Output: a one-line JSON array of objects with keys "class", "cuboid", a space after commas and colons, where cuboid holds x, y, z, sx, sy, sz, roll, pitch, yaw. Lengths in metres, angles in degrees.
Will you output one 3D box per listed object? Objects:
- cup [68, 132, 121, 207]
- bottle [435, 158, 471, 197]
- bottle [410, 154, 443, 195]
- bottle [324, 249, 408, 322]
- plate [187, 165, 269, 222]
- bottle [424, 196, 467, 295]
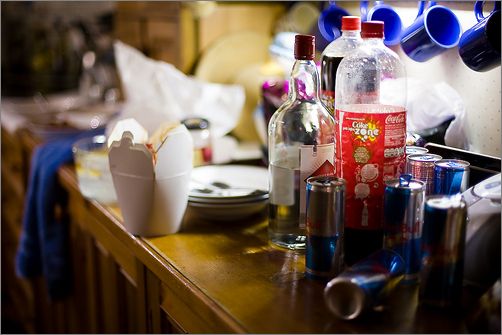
[{"class": "cup", "cuboid": [-0.435, 0.010, 1.285, 0.154, 0.134, 0.173, -2, 3, -1]}, {"class": "bottle", "cuboid": [0.412, 0.021, 0.909, 0.060, 0.069, 0.052, -7, 12, -42]}, {"class": "bottle", "cuboid": [0.354, 0.013, 0.949, 0.076, 0.085, 0.076, -3, 4, -30]}, {"class": "bottle", "cuboid": [0.217, 0.222, 0.822, 0.098, 0.102, 0.259, 2, 11, 35]}, {"class": "plate", "cuboid": [-0.058, 0.067, 1.233, 0.226, 0.101, 0.296, 0, 9, -4]}, {"class": "bottle", "cuboid": [0.352, 0.135, 0.809, 0.070, 0.166, 0.039, -1, 9, -10]}]
